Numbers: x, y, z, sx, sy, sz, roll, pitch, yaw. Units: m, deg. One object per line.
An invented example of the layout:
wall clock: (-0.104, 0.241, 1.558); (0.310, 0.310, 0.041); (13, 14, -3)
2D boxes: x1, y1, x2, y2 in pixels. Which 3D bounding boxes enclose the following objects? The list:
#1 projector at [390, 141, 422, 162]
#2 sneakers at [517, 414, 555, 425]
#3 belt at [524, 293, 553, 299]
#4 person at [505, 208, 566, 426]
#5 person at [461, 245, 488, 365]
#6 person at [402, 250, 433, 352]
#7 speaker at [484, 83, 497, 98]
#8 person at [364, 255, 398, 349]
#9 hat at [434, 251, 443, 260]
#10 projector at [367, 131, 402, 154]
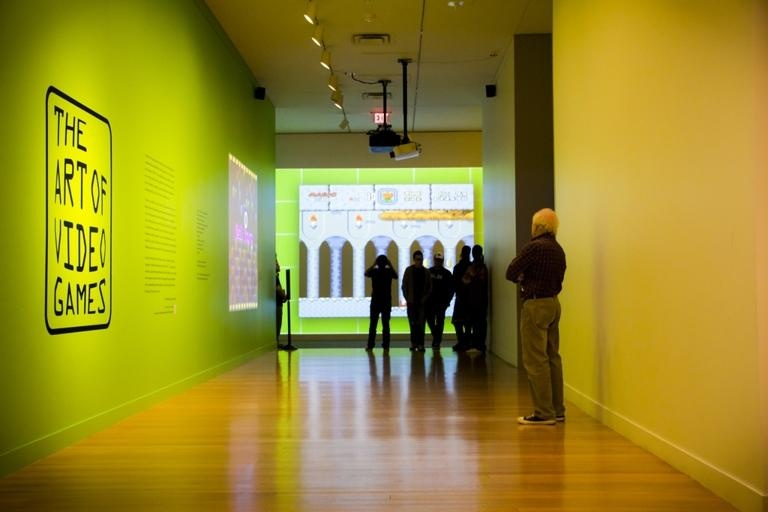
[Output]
projector: (0.374, -1.743, 10.127); (0.462, 0.285, 0.664); (-12, 5, 4)
sneakers: (1.318, 1.381, 5.224); (0.286, 0.123, 0.109); (3, -12, 11)
belt: (1.335, 0.336, 5.202); (0.233, 0.075, 0.069); (-1, 0, 16)
person: (1.331, 0.515, 5.299); (0.492, 1.854, 0.356); (-1, -1, 10)
person: (1.665, 0.785, 10.811); (0.412, 1.935, 1.019); (-1, 0, 10)
person: (0.597, 0.830, 11.275); (0.405, 1.813, 0.502); (0, -1, -30)
speaker: (1.845, -2.855, 10.396); (0.230, 0.229, 0.242); (-3, 12, 10)
person: (-0.051, 0.882, 11.525); (0.553, 1.837, 1.231); (0, 0, -2)
hat: (1.090, 0.004, 12.023); (0.150, 0.133, 0.247); (5, -28, 2)
projector: (0.020, -2.009, 10.637); (0.425, 0.291, 0.448); (-2, 6, -28)
